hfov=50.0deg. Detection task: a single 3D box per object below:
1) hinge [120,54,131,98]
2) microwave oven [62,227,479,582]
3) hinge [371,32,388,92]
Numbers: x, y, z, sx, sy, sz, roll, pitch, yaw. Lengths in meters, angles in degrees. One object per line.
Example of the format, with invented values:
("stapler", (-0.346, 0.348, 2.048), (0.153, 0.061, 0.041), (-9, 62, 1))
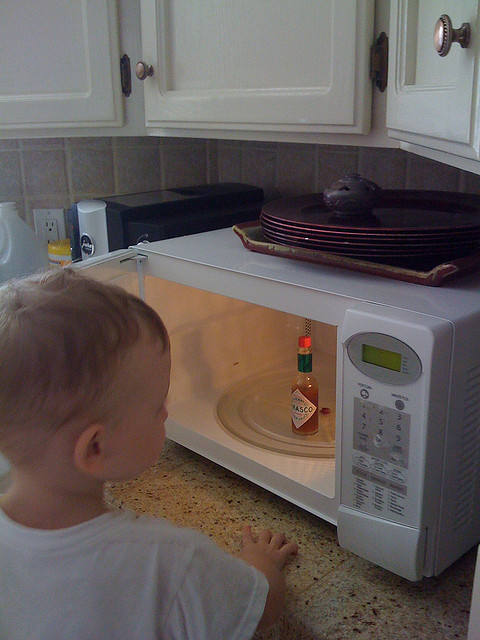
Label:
("hinge", (-0.232, -0.499, 1.048), (0.021, 0.088, 0.013), (-5, 50, -13))
("microwave oven", (0.105, 0.043, 0.788), (0.536, 0.342, 0.496), (8, 14, 33))
("hinge", (0.183, -0.337, 0.671), (0.017, 0.052, 0.038), (-5, 4, -25))
